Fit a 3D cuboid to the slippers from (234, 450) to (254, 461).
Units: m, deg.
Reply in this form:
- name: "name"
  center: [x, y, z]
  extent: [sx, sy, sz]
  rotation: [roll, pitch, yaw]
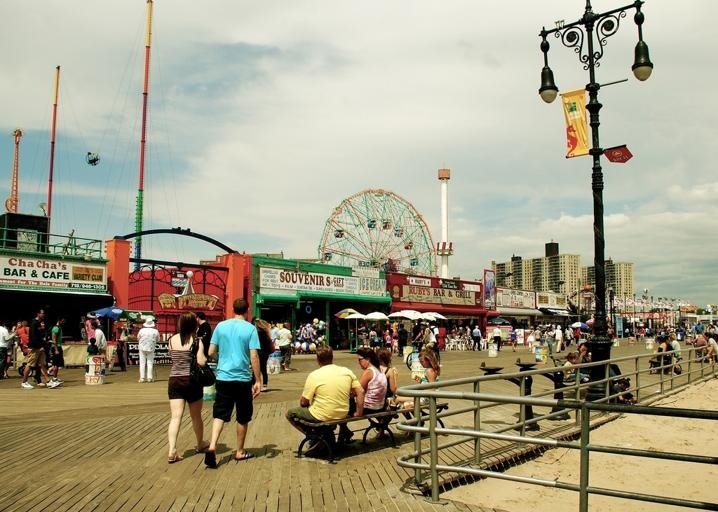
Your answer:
- name: "slippers"
  center: [-2.175, 3.742, 14.984]
  extent: [0.309, 0.202, 0.160]
  rotation: [-2, -2, -5]

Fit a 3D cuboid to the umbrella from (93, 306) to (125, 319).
- name: "umbrella"
  center: [-9.154, 2.097, 29.388]
  extent: [0.746, 0.294, 0.766]
  rotation: [-2, -7, 41]

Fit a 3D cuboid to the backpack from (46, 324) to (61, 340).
- name: "backpack"
  center: [-9.872, 2.477, 25.724]
  extent: [0.431, 0.785, 0.773]
  rotation: [2, -6, -14]

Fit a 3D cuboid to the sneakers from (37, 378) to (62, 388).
- name: "sneakers"
  center: [-8.843, 3.605, 22.638]
  extent: [0.648, 0.299, 0.260]
  rotation: [-1, -2, -6]

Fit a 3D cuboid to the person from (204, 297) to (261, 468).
- name: "person"
  center: [-2.356, 2.339, 14.818]
  extent: [0.969, 3.088, 0.637]
  rotation: [1, -6, -10]

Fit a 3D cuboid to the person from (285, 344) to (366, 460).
- name: "person"
  center: [-0.650, 2.888, 15.526]
  extent: [1.469, 2.243, 1.103]
  rotation: [-3, -5, 34]

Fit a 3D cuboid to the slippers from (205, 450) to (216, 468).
- name: "slippers"
  center: [-2.720, 3.684, 14.471]
  extent: [0.184, 0.336, 0.196]
  rotation: [4, 13, -3]

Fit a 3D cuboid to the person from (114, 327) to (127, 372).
- name: "person"
  center: [-8.720, 3.457, 29.083]
  extent: [0.468, 1.244, 1.340]
  rotation: [-3, -1, -12]

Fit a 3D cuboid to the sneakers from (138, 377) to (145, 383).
- name: "sneakers"
  center: [-6.552, 3.732, 23.922]
  extent: [0.118, 0.181, 0.175]
  rotation: [0, -8, -4]

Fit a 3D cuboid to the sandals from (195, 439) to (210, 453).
- name: "sandals"
  center: [-3.010, 3.614, 15.256]
  extent: [0.130, 0.164, 0.401]
  rotation: [8, 14, 10]
